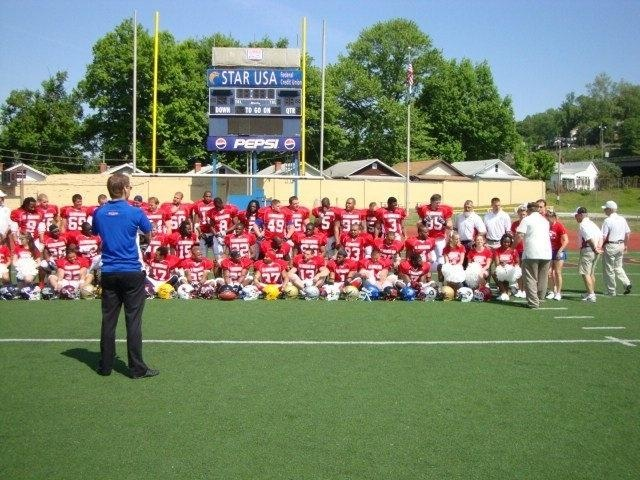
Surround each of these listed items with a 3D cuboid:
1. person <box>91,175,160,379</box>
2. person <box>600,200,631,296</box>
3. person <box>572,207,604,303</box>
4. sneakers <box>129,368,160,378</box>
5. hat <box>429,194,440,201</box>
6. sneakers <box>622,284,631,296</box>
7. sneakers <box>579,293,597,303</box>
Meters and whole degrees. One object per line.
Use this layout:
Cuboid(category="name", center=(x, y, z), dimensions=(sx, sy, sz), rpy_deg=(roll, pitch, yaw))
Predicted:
Cuboid(category="person", center=(-2.088, 0.362, 7.421), dimensions=(0.602, 2.085, 0.709), rpy_deg=(-2, 10, -18))
Cuboid(category="person", center=(4.989, 0.154, 11.832), dimensions=(0.682, 1.649, 0.342), rpy_deg=(-3, 11, -24))
Cuboid(category="person", center=(4.484, 0.218, 11.670), dimensions=(0.429, 1.522, 0.818), rpy_deg=(5, 11, 22))
Cuboid(category="sneakers", center=(-1.844, 1.400, 7.341), dimensions=(0.291, 0.132, 0.104), rpy_deg=(-5, 12, -25))
Cuboid(category="hat", center=(2.057, -0.792, 12.474), dimensions=(0.114, 0.148, 0.148), rpy_deg=(14, -5, 24))
Cuboid(category="sneakers", center=(5.341, 0.842, 12.088), dimensions=(0.110, 0.117, 0.263), rpy_deg=(2, 8, 15))
Cuboid(category="sneakers", center=(4.460, 0.940, 11.498), dimensions=(0.108, 0.132, 0.277), rpy_deg=(-4, 3, 1))
